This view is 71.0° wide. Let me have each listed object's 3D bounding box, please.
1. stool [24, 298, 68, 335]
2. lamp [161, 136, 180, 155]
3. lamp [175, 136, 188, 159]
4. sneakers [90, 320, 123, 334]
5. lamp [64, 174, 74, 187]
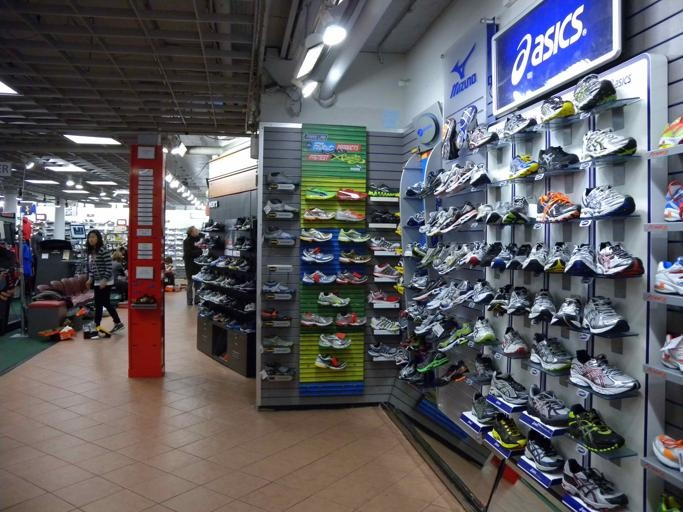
[{"bbox_3d":[-5.437,1.054,8.860,0.643,0.624,1.015,1,1,-9],"label":"stool"},{"bbox_3d":[-3.131,-2.087,8.840,0.278,0.270,0.863,1,5,-16],"label":"lamp"},{"bbox_3d":[-3.119,-2.044,9.191,0.085,0.291,0.311,16,34,-17],"label":"lamp"},{"bbox_3d":[-4.393,1.352,8.974,0.497,0.170,0.156,4,-13,-28],"label":"sneakers"},{"bbox_3d":[-8.317,-2.302,14.669,0.345,0.369,0.102,-2,-7,17],"label":"lamp"}]
